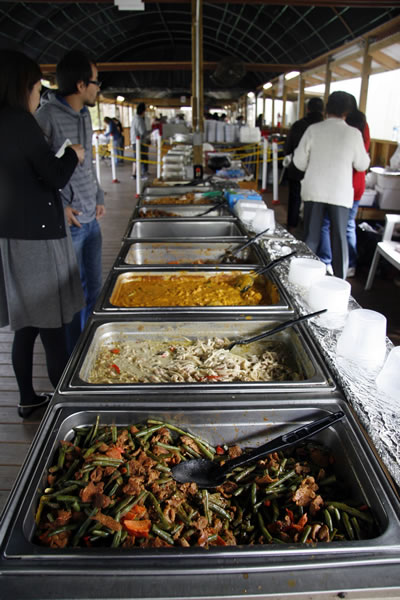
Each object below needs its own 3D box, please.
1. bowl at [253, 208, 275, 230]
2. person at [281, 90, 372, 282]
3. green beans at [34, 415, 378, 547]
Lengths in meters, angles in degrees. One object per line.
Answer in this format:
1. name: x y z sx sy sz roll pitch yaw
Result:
1. bowl: 0.384 -0.476 2.401 0.126 0.087 0.125 1 14 0
2. person: 1.119 -0.995 3.819 0.750 1.739 0.681 2 21 5
3. green beans: -0.001 0.355 0.787 0.573 0.108 0.318 1 19 -3
